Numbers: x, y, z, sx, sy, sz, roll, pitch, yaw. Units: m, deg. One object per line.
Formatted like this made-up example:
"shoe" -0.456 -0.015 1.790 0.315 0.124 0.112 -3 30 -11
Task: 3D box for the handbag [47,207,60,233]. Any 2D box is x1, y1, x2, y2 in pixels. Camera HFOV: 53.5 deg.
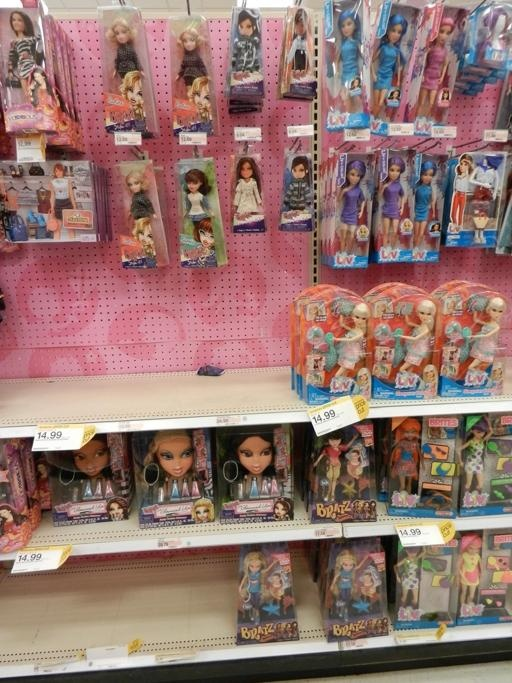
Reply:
"handbag" -0.657 -0.385 1.647 0.041 0.059 0.018 -1 14 4

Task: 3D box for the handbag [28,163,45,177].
"handbag" -0.707 -0.549 1.635 0.041 0.062 0.024 -1 15 2
